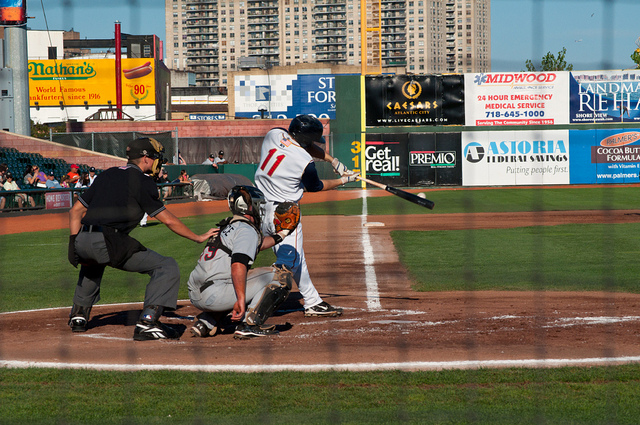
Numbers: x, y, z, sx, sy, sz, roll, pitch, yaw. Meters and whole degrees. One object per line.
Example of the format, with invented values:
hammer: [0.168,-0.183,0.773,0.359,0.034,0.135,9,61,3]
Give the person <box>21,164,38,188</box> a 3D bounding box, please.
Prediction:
person: [-10.919,-1.436,41.632,0.747,0.848,0.431,4,-22,-3]

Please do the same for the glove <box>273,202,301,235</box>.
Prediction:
glove: [-0.758,0.114,27.622,0.674,0.757,0.336,5,-10,29]

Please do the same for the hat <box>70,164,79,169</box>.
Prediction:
hat: [-9.792,-1.896,43.953,0.323,0.110,0.399,0,2,-19]

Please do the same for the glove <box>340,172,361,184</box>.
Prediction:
glove: [0.786,-0.953,28.642,0.517,0.198,0.549,0,8,2]

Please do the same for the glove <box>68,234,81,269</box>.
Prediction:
glove: [-6.079,0.931,27.159,0.316,0.824,0.217,5,12,26]

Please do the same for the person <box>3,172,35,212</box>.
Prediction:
person: [-11.015,-0.783,39.863,1.018,1.181,0.841,5,12,27]
